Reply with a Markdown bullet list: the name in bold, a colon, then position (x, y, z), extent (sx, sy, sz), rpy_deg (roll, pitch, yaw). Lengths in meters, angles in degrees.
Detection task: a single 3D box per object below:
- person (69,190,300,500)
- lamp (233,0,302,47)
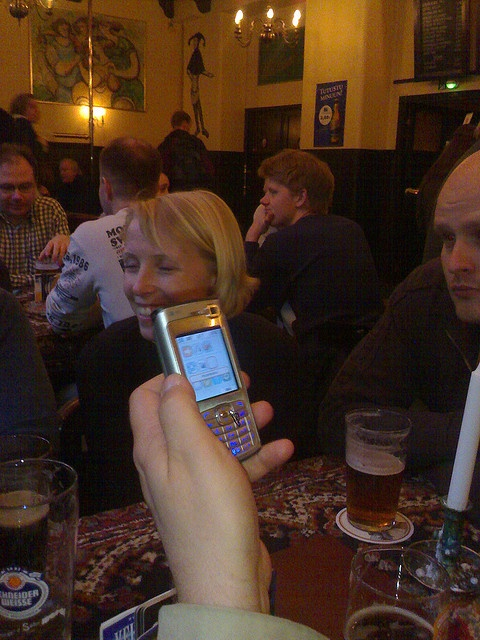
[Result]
- **person**: position (-0.152, -0.026, 1.246), extent (0.401, 0.844, 0.175), rpy_deg (-10, 8, -12)
- **lamp**: position (0.388, -3.826, 6.347), extent (0.938, 0.691, 1.069), rpy_deg (8, 29, 6)
